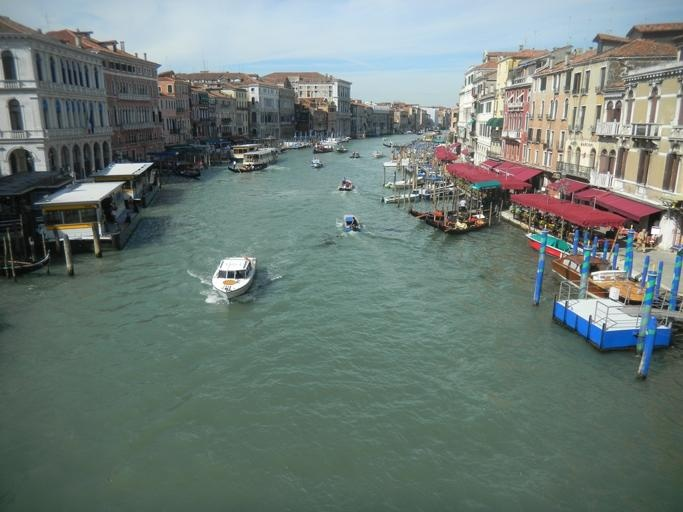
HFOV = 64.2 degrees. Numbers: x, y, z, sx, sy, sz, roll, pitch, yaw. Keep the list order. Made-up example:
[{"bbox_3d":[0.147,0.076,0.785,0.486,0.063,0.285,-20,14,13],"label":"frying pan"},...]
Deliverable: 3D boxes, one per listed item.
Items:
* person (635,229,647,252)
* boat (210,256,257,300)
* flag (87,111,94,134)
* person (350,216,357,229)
[{"bbox_3d":[24.244,-1.256,44.167,0.882,1.391,2.123,7,19,28],"label":"person"},{"bbox_3d":[-8.036,1.424,40.801,2.727,1.753,5.792,1,24,0],"label":"boat"},{"bbox_3d":[-35.672,-19.069,77.784,0.429,2.854,2.592,-8,18,-14],"label":"flag"},{"bbox_3d":[1.387,-3.498,58.714,0.634,0.994,1.471,-2,17,4],"label":"person"}]
